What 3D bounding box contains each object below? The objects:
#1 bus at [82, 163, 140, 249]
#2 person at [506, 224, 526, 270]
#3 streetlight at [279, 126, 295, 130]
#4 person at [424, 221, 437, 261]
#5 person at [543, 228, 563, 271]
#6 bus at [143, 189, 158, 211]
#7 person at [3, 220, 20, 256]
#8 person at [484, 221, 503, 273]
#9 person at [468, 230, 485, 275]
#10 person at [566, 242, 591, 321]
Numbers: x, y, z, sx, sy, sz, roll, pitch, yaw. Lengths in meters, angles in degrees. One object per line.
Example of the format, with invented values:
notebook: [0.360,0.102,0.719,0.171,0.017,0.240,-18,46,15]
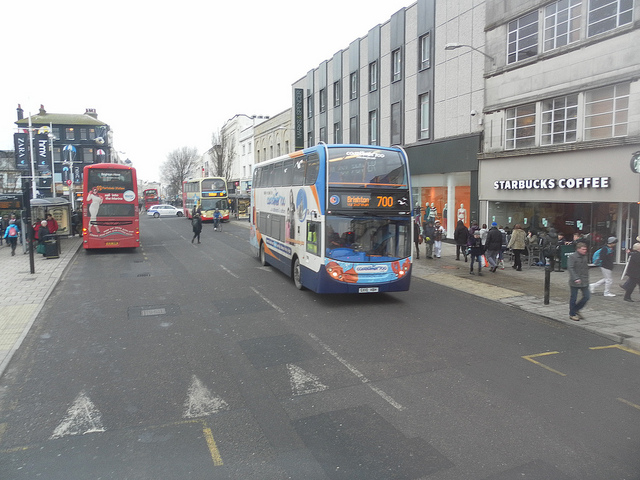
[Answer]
bus: [-11.756,-0.372,28.391,2.867,4.831,9.245,-2,-15,-21]
person: [8.301,0.341,21.173,0.607,1.815,1.344,5,12,23]
streetlight: [-3.480,-10.993,49.010,0.545,0.320,4.116,-3,13,-14]
person: [5.247,0.045,23.912,0.529,1.831,1.072,4,12,21]
person: [9.363,0.553,20.216,0.713,1.688,0.542,5,3,27]
bus: [-27.483,-6.461,80.540,1.473,3.375,3.476,-10,15,-40]
person: [-15.728,-0.070,25.449,0.581,1.629,2.130,-7,14,-31]
person: [7.041,0.396,20.459,0.644,1.864,0.610,4,12,17]
person: [6.250,0.502,20.132,0.554,1.832,0.562,1,2,16]
person: [7.034,1.108,13.623,0.593,2.120,0.803,6,13,29]
